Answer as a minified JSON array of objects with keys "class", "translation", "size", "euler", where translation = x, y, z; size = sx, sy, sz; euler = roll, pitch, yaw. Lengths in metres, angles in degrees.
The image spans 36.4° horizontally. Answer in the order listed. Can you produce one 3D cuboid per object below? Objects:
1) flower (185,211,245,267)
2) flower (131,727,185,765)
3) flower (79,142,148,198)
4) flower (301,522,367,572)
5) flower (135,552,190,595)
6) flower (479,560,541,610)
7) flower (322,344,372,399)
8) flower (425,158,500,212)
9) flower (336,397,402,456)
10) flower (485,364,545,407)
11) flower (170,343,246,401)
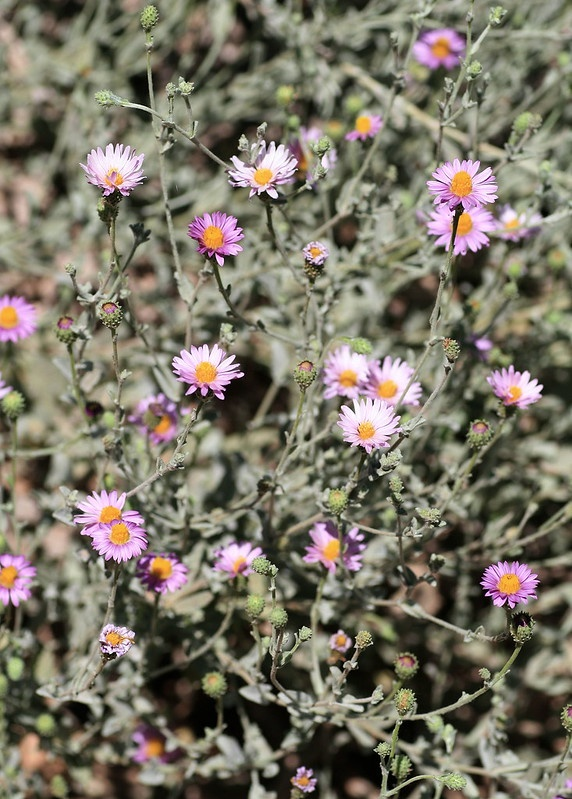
[{"class":"flower","translation":[-0.094,-0.224,1.126],"size":[0.064,0.025,0.063],"euler":[-17,29,-14]},{"class":"flower","translation":[-0.241,0.635,1.598],"size":[0.090,0.053,0.068],"euler":[-3,74,3]},{"class":"flower","translation":[-0.207,-0.289,1.123],"size":[0.034,0.067,0.063],"euler":[3,50,14]},{"class":"flower","translation":[0.066,0.218,1.297],"size":[0.106,0.035,0.093],"euler":[-1,46,11]},{"class":"flower","translation":[-0.188,0.260,1.305],"size":[0.067,0.062,0.059],"euler":[38,80,13]},{"class":"flower","translation":[0.282,0.238,1.120],"size":[0.067,0.092,0.061],"euler":[-8,75,2]},{"class":"flower","translation":[0.093,-0.037,1.386],"size":[0.071,0.122,0.099],"euler":[9,76,7]},{"class":"flower","translation":[0.228,-0.279,1.129],"size":[0.083,0.080,0.027],"euler":[-10,85,8]},{"class":"flower","translation":[0.106,0.032,1.149],"size":[0.086,0.079,0.031],"euler":[2,101,0]},{"class":"flower","translation":[0.310,-0.016,1.221],"size":[0.071,0.036,0.063],"euler":[21,62,1]},{"class":"flower","translation":[-0.103,-0.044,1.132],"size":[0.076,0.075,0.025],"euler":[18,63,-28]}]
